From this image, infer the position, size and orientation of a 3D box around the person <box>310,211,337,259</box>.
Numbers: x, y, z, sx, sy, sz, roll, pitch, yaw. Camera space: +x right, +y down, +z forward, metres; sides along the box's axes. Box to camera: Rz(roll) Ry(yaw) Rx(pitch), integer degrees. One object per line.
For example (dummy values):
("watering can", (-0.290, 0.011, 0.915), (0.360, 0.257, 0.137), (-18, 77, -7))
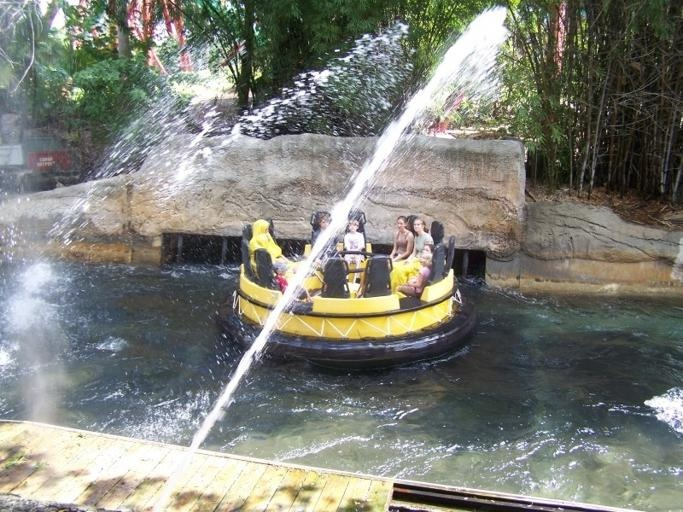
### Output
("person", (-0.439, -0.517, 10.081), (0.718, 1.035, 0.888), (-2, 15, -10))

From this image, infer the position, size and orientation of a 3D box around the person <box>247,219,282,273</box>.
("person", (-1.300, -0.260, 8.590), (0.543, 0.733, 1.036), (2, 7, 1))

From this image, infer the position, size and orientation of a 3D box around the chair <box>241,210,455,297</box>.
("chair", (-0.287, -0.045, 8.595), (2.411, 0.816, 1.586), (2, 15, 10))

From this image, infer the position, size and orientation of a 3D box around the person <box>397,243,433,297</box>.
("person", (1.277, 0.245, 8.531), (0.581, 1.003, 0.715), (14, 10, 14))
